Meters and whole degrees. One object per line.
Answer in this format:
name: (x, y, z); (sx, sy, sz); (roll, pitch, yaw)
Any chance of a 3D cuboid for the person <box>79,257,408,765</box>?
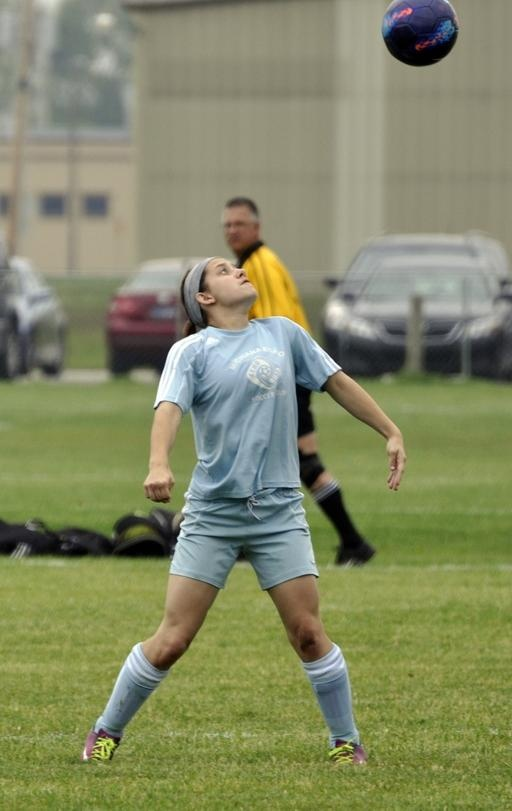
person: (-0.043, 0.309, 4.076); (0.934, 1.473, 0.509); (-3, 6, -25)
